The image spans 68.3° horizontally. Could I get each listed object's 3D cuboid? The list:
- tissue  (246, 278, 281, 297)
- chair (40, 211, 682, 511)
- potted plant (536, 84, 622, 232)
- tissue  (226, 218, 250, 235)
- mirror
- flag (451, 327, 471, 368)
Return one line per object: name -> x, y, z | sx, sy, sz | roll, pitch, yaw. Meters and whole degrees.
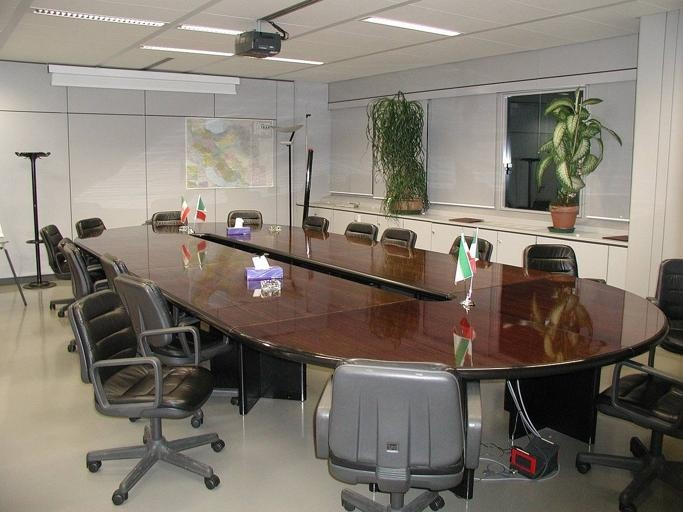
tissue  -> -0.591, 0.258, 3.901 | 0.148, 0.039, 0.163 | -7, 15, -28
chair -> -0.010, 0.631, 4.237 | 4.411, 1.265, 2.616 | 12, 18, 43
potted plant -> 3.001, -1.240, 6.473 | 0.897, 1.853, 0.923 | 6, 15, 27
tissue  -> -1.384, -0.356, 6.636 | 0.271, 0.219, 0.278 | 6, 11, 33
mirror -> 2.893, -1.169, 6.455 | 1.017, 1.741, 0.981 | 2, 6, -6
flag -> 0.646, 0.526, 2.784 | 0.109, 0.214, 0.117 | 7, 12, 40
